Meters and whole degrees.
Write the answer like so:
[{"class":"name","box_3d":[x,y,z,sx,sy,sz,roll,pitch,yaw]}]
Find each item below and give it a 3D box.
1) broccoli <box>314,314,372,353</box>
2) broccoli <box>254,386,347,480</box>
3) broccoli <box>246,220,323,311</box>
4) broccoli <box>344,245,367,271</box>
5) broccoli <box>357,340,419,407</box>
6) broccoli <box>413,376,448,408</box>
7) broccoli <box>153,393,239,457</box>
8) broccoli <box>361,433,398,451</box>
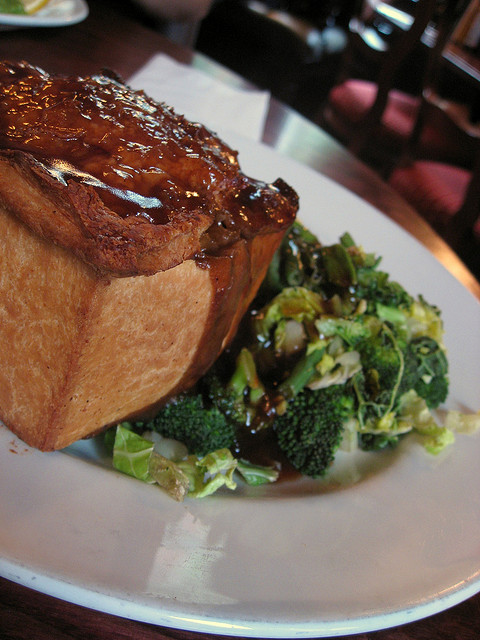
[{"class":"broccoli","box_3d":[0.211,0.022,1.293,0.125,0.030,0.060,-1,57,-18]},{"class":"broccoli","box_3d":[0.124,0.217,1.254,0.203,0.165,0.069,17,7,18]},{"class":"broccoli","box_3d":[0.109,-0.117,1.465,0.073,0.161,0.219,25,62,24]},{"class":"broccoli","box_3d":[0.251,-0.135,1.476,0.062,0.021,0.056,5,36,-29]},{"class":"broccoli","box_3d":[0.277,0.105,1.322,0.116,0.053,0.128,14,40,-26]},{"class":"broccoli","box_3d":[0.393,0.148,1.338,0.064,0.017,0.073,49,41,14]},{"class":"broccoli","box_3d":[-0.081,0.198,1.210,0.148,0.058,0.109,24,-7,-33]},{"class":"broccoli","box_3d":[0.272,0.241,1.279,0.056,0.023,0.034,5,63,19]}]
